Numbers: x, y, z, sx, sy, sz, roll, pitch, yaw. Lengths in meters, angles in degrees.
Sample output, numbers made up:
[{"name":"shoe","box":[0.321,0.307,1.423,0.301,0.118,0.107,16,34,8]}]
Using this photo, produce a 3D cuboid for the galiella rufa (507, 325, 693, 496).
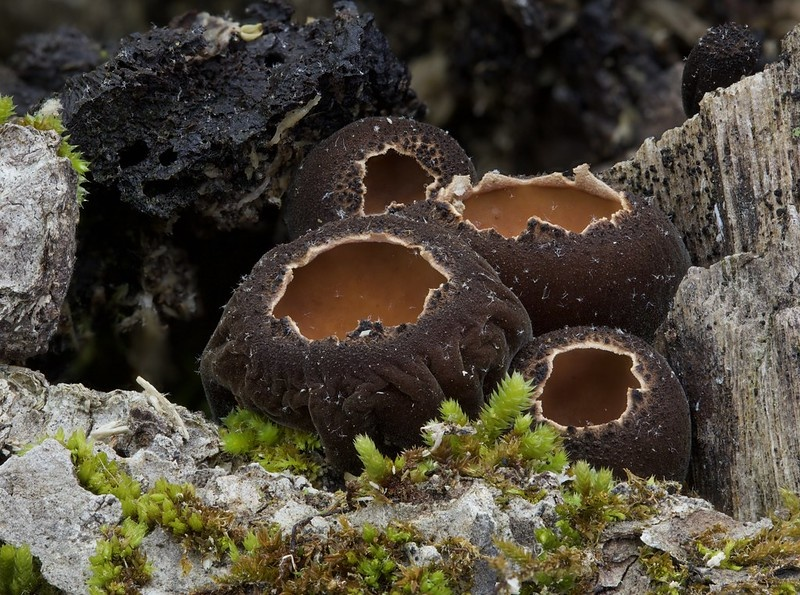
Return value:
[{"name":"galiella rufa","box":[0.807,0.391,4.355,0.599,0.212,0.553,6,84,1]}]
